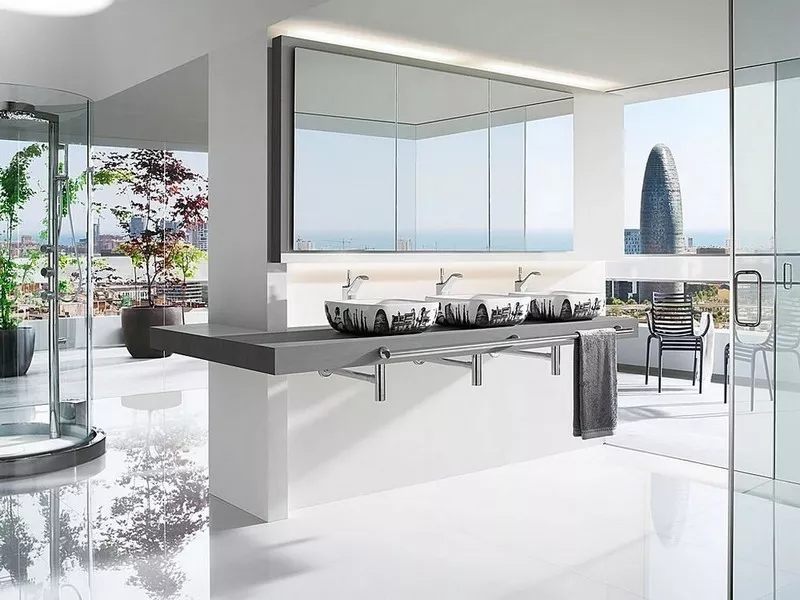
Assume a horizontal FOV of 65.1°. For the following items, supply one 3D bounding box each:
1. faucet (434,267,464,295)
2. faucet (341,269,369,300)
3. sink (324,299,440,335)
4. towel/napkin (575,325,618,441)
[{"bbox_3d":[0.317,-0.123,4.103,0.164,0.161,0.468,1,4,5],"label":"faucet"},{"bbox_3d":[-0.279,-0.090,3.726,0.134,0.178,0.409,0,4,-5],"label":"faucet"},{"bbox_3d":[-0.091,0.098,3.311,0.593,0.173,0.280,0,4,-8],"label":"sink"},{"bbox_3d":[1.220,0.508,3.877,0.353,0.653,0.123,-2,4,-34],"label":"towel/napkin"}]
